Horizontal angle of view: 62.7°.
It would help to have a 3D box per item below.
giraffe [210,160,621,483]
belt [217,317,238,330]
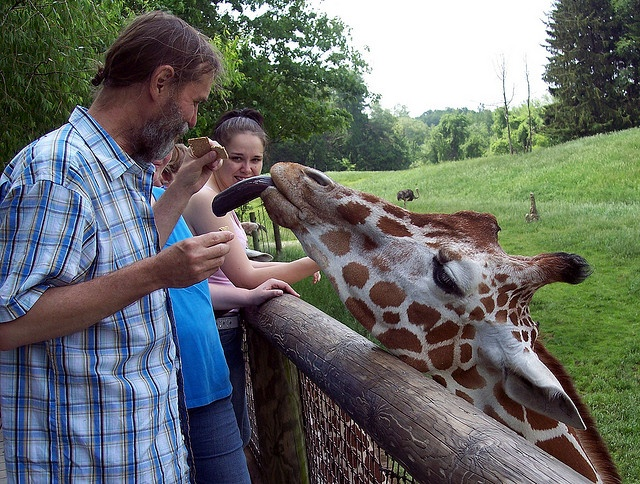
[{"bbox_3d":[0.409,0.268,2.034,1.340,0.993,0.294,10,11,25],"label":"giraffe"},{"bbox_3d":[-0.543,0.473,3.081,0.084,0.044,0.070,0,2,-20],"label":"belt"}]
